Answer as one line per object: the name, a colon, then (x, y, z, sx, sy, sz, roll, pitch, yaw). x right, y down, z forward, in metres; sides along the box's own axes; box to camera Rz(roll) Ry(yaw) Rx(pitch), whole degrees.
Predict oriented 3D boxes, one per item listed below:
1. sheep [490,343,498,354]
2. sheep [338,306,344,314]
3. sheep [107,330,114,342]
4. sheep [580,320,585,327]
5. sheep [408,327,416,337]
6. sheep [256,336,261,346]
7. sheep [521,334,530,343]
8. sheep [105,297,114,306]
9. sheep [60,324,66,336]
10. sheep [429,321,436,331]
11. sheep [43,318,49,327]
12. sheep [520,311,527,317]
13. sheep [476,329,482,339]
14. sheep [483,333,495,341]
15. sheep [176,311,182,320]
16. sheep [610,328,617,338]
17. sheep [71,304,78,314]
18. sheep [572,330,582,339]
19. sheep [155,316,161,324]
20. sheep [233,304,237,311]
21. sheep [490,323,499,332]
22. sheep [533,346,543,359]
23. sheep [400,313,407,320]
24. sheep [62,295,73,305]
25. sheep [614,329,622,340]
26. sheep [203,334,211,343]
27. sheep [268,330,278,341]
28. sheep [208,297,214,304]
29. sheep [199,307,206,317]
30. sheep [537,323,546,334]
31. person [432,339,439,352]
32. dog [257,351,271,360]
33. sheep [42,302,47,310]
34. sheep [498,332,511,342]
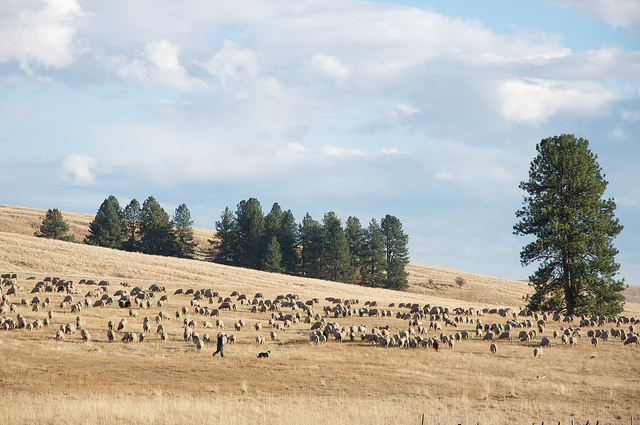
sheep: (22.024, 17.592, 168.147, 0.920, 1.181, 1.706, 4, 1, 10)
sheep: (2.981, 13.972, 185.159, 0.716, 0.976, 0.295, 0, -4, -3)
sheep: (-25.962, 15.791, 165.529, 0.804, 1.131, 1.239, 4, 1, -11)
sheep: (35.608, 15.444, 180.204, 0.597, 0.886, 0.724, 4, 1, 9)
sheep: (12.041, 16.037, 174.036, 0.661, 0.933, 0.824, -12, -2, 37)
sheep: (-7.747, 16.554, 167.357, 0.425, 0.997, 0.829, 3, 1, -33)
sheep: (26.968, 16.696, 172.616, 1.051, 0.978, 2.129, 5, 1, 35)
sheep: (-28.228, 12.367, 179.716, 0.949, 0.862, 1.954, 4, 1, 14)
sheep: (-31.974, 15.014, 165.628, 0.640, 0.944, 1.244, 4, 1, -5)
sheep: (15.079, 15.621, 178.066, 0.608, 1.179, 0.268, 10, 1, 6)
sheep: (-34.524, 14.310, 167.874, 0.537, 0.818, 0.879, 3, 1, -39)
sheep: (29.695, 15.117, 193.445, 0.557, 0.815, 0.269, 6, 6, 11)
sheep: (20.883, 16.164, 175.042, 0.540, 0.818, 0.807, 10, 40, 31)
sheep: (22.219, 16.590, 173.094, 1.851, 0.917, 1.072, 3, 1, -41)
sheep: (-18.658, 13.964, 176.149, 0.625, 0.822, 1.341, 4, 1, 1)
sheep: (38.373, 16.117, 173.630, 0.479, 1.085, 0.780, 4, 0, -2)
sheep: (-32.083, 12.974, 174.192, 0.835, 0.878, 0.968, 4, 1, -9)
sheep: (33.629, 16.267, 174.435, 1.559, 0.841, 1.001, 3, 1, -40)
sheep: (-20.959, 14.318, 173.321, 0.697, 1.038, 0.659, 2, -22, 13)
sheep: (-11.657, 13.518, 182.933, 0.619, 0.883, 0.347, -1, -3, -6)
sheep: (23.080, 15.563, 176.003, 0.600, 1.190, 0.460, 22, 0, 5)
sheep: (27.361, 18.043, 166.585, 0.975, 1.385, 1.702, 4, 1, 15)
sheep: (11.714, 14.790, 184.602, 0.657, 0.766, 1.251, 4, 1, -2)
sheep: (-33.576, 12.163, 177.900, 0.857, 1.041, 0.978, -2, 26, -11)
sheep: (38.956, 16.284, 173.871, 0.786, 1.090, 0.459, 5, 2, -8)
sheep: (-14.156, 16.255, 167.369, 0.954, 0.830, 0.928, 4, 1, -5)
sheep: (-5.868, 16.176, 170.215, 1.057, 1.058, 2.183, 4, 1, -3)
sheep: (-15.175, 12.872, 187.020, 0.600, 1.024, 0.690, -1, -1, -8)
sheep: (-15.662, 13.752, 178.478, 0.683, 0.879, 0.715, 4, 1, -13)
sheep: (29.596, 15.921, 177.691, 0.479, 1.613, 0.533, -16, -13, 10)
person: (14.814, 17.131, 168.277, 0.882, 1.324, 1.262, 4, 1, -15)
dog: (-6.795, 17.952, 163.318, 1.281, 0.793, 0.925, 4, 1, -2)
sheep: (-36.198, 12.612, 175.376, 0.568, 0.643, 1.121, 4, 1, -12)
sheep: (24.202, 16.501, 173.239, 1.511, 1.078, 0.808, 4, 1, -1)
